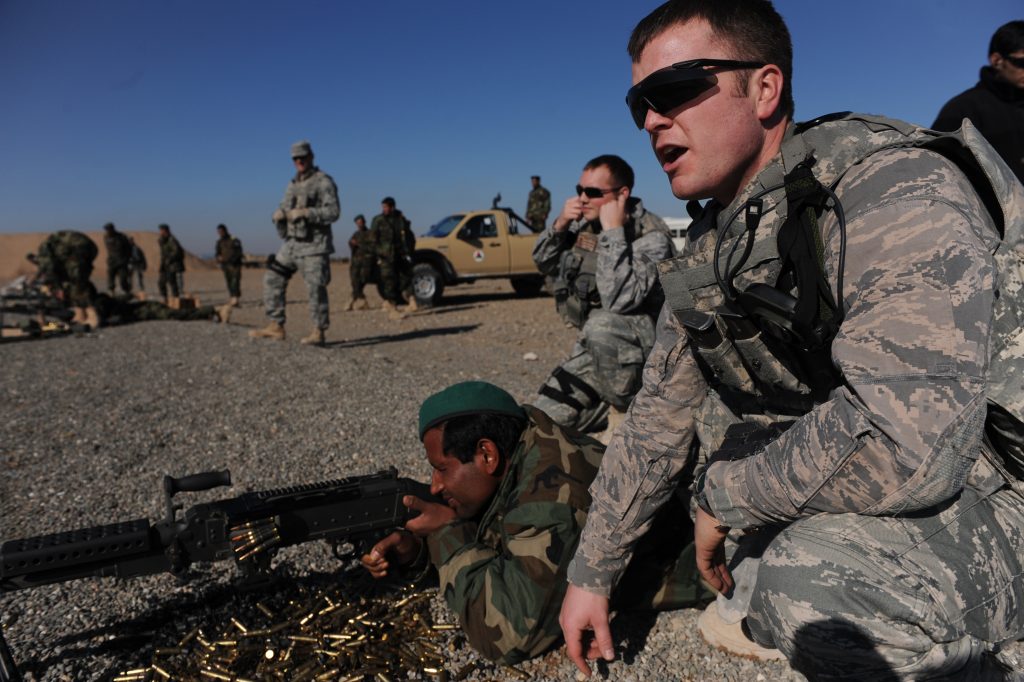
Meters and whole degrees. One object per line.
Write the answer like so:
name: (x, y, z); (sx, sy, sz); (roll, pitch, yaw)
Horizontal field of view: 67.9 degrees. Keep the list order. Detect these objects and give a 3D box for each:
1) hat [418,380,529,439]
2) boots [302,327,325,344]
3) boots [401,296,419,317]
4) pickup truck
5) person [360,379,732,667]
hat: (-0.221, 0.290, 3.470); (0.318, 0.102, 0.319); (-7, -15, 11)
boots: (-2.442, -0.058, 9.326); (0.271, 0.205, 0.110); (22, 22, 34)
boots: (-1.864, -0.596, 13.833); (0.169, 0.494, 0.338); (15, 2, -26)
pickup truck: (-0.770, -1.606, 14.864); (2.892, 1.416, 1.730); (0, 4, -19)
person: (0.311, 0.645, 3.719); (2.052, 0.911, 1.229); (-9, 24, -22)
